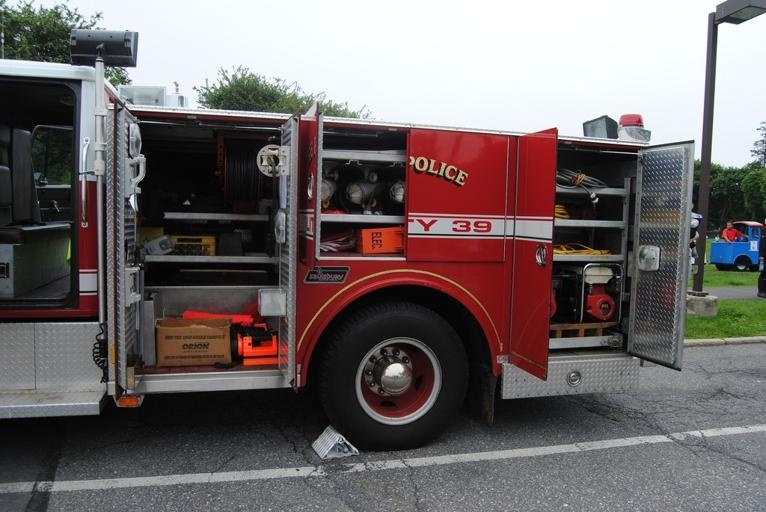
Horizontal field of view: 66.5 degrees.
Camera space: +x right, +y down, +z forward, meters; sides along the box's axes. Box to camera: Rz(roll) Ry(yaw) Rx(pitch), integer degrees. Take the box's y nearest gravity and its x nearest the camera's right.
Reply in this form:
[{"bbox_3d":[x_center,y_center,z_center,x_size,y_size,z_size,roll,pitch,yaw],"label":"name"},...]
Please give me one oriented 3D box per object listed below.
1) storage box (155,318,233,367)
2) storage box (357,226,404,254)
[{"bbox_3d":[-1.904,0.950,5.843,0.712,0.471,0.520,0,-27,-19],"label":"storage box"},{"bbox_3d":[-0.008,-0.153,5.760,0.416,0.254,0.129,1,11,-5],"label":"storage box"}]
